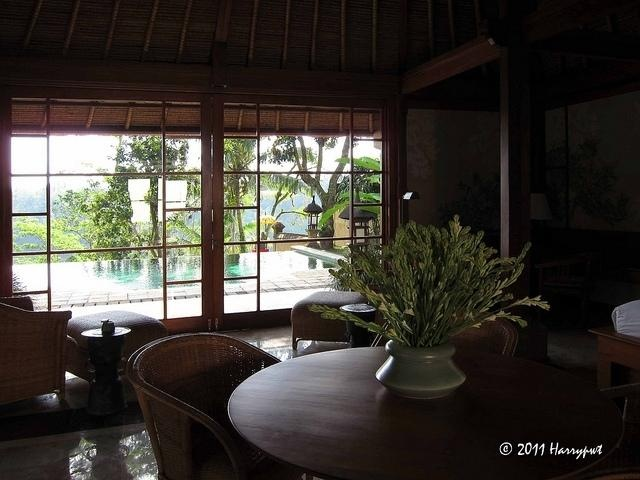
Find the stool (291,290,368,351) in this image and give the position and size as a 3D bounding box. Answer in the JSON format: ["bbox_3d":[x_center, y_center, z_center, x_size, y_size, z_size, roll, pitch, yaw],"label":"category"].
[{"bbox_3d":[0.088,0.802,4.495,0.942,0.577,0.853,0,3,3],"label":"stool"}]

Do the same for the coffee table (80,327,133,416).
[{"bbox_3d":[-1.628,0.937,3.265,0.298,0.651,0.356,-4,4,-6],"label":"coffee table"}]

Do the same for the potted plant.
[{"bbox_3d":[0.393,0.190,1.734,0.946,0.685,0.662,-1,1,1],"label":"potted plant"}]
